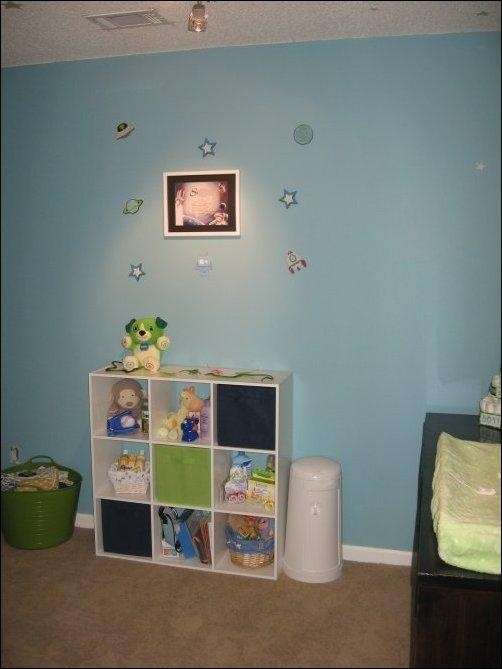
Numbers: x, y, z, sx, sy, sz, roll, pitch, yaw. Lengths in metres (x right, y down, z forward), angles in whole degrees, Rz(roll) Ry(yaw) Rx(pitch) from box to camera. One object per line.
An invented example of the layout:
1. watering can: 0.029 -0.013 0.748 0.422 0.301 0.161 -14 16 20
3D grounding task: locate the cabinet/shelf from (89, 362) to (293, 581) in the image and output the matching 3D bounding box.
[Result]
1. cabinet/shelf: -0.270 0.682 2.830 0.910 0.893 0.304 2 11 10

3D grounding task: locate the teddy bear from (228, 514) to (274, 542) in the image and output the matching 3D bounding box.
1. teddy bear: -0.007 0.910 2.781 0.151 0.059 0.120 2 0 -2

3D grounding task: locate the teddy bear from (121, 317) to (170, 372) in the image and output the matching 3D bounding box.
1. teddy bear: -0.531 0.044 3.003 0.236 0.277 0.188 2 1 8

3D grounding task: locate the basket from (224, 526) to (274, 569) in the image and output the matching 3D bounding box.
1. basket: -0.012 1.010 2.814 0.203 0.128 0.183 -1 -3 14

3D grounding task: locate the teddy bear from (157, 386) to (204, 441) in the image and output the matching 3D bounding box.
1. teddy bear: -0.341 0.381 2.905 0.245 0.269 0.156 2 -2 23

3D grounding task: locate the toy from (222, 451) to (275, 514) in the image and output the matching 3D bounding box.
1. toy: -0.010 0.702 2.863 0.245 0.214 0.353 -1 7 0

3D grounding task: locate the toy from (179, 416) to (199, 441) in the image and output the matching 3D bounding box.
1. toy: -0.292 0.458 2.829 0.087 0.107 0.092 -1 7 -6

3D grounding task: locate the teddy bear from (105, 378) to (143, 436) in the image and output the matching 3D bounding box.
1. teddy bear: -0.648 0.374 3.014 0.208 0.282 0.167 -6 7 -37
